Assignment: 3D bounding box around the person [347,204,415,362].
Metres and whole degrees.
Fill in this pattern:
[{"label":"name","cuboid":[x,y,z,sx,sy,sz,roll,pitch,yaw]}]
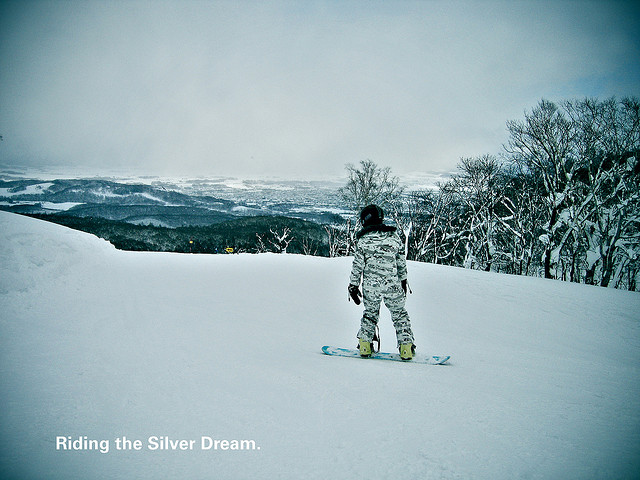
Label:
[{"label":"person","cuboid":[1.162,0.782,9.288,1.228,2.834,0.521,5,5,4]}]
